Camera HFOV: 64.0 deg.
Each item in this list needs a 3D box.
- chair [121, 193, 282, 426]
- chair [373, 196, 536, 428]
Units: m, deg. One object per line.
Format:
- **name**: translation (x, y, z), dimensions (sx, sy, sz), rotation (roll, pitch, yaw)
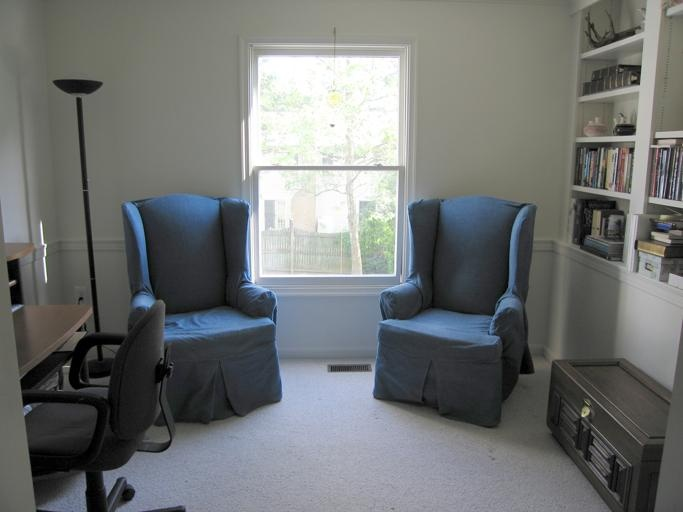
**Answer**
- **chair**: translation (-0.992, 0.295, 3.746), dimensions (0.883, 1.405, 1.092), rotation (-4, 9, -28)
- **chair**: translation (0.820, 0.293, 3.782), dimensions (1.054, 1.396, 1.218), rotation (1, 7, 6)
